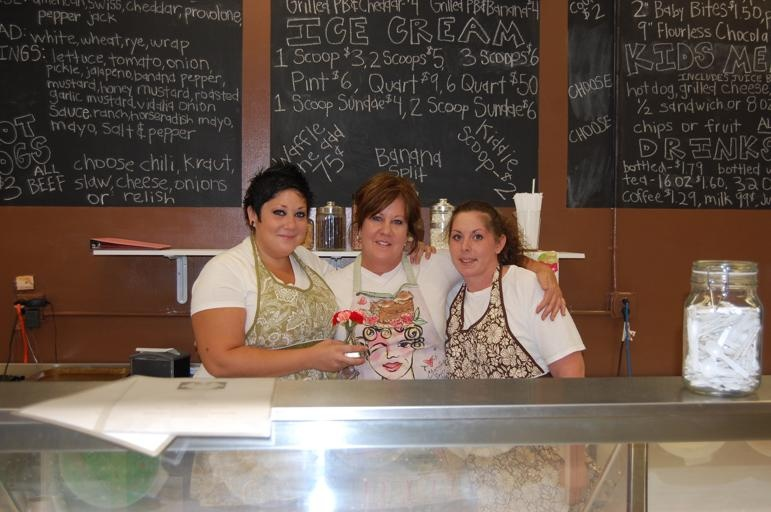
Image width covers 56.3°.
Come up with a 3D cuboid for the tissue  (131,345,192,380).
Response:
[{"bbox_3d":[-1.057,0.479,3.233,0.240,0.162,0.172,2,3,8],"label":"tissue "}]

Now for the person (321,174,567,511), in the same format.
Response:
[{"bbox_3d":[0.206,0.338,2.801,1.031,1.344,0.459,-9,-14,-7],"label":"person"}]

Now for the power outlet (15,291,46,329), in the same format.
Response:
[{"bbox_3d":[-2.053,0.307,4.064,0.172,0.217,0.075,-4,6,-18],"label":"power outlet"}]

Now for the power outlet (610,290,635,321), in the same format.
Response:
[{"bbox_3d":[1.389,0.280,4.243,0.193,0.200,0.144,0,1,-9],"label":"power outlet"}]
